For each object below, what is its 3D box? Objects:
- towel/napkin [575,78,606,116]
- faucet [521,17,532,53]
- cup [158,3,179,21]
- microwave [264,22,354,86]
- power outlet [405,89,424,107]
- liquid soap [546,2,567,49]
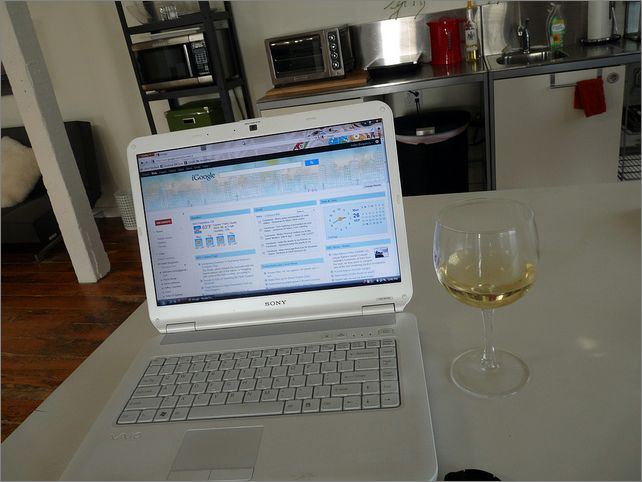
[{"bbox_3d":[1.298,-0.708,2.508,0.132,0.138,0.078,-16,19,-1],"label":"towel/napkin"},{"bbox_3d":[1.153,-1.164,2.930,0.054,0.175,0.162,-1,26,21],"label":"faucet"},{"bbox_3d":[-0.894,-1.340,3.017,0.119,0.074,0.037,-6,25,10],"label":"cup"},{"bbox_3d":[-0.066,-1.029,2.930,0.469,0.288,0.332,-5,21,18],"label":"microwave"},{"bbox_3d":[0.597,-0.923,3.325,0.155,0.138,0.035,6,28,13],"label":"power outlet"},{"bbox_3d":[1.294,-1.196,2.868,0.101,0.237,0.241,1,26,25],"label":"liquid soap"}]
